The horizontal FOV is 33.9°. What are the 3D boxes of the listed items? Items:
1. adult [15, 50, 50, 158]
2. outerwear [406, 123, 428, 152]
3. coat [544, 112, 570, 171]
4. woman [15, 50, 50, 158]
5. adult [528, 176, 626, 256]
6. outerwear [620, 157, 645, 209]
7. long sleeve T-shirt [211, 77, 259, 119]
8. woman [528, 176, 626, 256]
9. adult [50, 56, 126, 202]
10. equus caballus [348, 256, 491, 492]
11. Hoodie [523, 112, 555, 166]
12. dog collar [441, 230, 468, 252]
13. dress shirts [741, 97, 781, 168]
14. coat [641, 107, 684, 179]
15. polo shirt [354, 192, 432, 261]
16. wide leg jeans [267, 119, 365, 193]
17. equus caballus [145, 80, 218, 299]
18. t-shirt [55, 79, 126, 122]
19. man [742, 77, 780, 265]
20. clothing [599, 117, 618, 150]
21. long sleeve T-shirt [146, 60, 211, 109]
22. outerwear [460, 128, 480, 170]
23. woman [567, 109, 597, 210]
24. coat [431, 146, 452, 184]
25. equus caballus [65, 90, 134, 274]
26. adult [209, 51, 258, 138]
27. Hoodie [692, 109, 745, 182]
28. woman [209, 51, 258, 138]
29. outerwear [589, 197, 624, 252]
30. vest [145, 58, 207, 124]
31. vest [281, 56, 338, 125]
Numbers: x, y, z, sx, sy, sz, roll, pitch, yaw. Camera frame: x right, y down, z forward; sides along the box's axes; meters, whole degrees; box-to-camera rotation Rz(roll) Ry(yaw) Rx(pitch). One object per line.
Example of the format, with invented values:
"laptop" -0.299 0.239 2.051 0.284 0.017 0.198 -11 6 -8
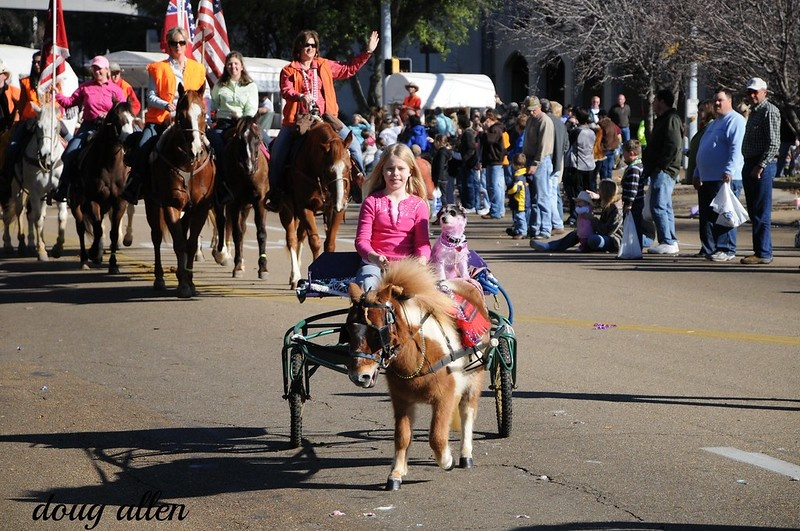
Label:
"adult" -6.996 -3.015 24.959 0.790 1.958 0.613 -9 -19 30
"outerwear" 0.457 -3.224 33.336 0.603 0.621 0.264 5 -3 -7
"coat" 3.253 -2.514 27.133 0.765 1.080 1.075 -1 9 0
"woman" -6.916 -2.978 24.929 0.805 2.046 0.559 -18 -24 27
"adult" 3.448 -0.903 25.188 1.860 1.379 1.253 -2 8 7
"outerwear" 4.321 -1.488 24.259 0.422 0.854 1.006 2 4 14
"long sleeve T-shirt" -2.880 -2.836 22.558 0.765 0.682 0.422 3 4 5
"woman" 3.467 -0.893 25.203 1.829 1.389 1.316 -3 8 4
"adult" -5.630 -2.370 23.793 1.233 2.680 0.987 6 8 -4
"equus caballus" 0.228 1.198 14.409 1.796 2.518 0.600 -4 7 -33
"Hoodie" 2.803 -2.599 26.734 0.549 1.031 1.192 -2 13 -16
"dog collar" 0.639 -0.277 15.741 0.214 0.134 0.273 8 9 -1
"dress shirts" 6.335 -2.345 23.117 0.580 1.230 1.334 -3 16 -9
"coat" 4.821 -2.190 24.174 0.707 1.274 1.047 3 0 -5
"polo shirt" -0.070 -0.409 16.029 1.162 1.117 0.689 2 -2 -1
"wide leg jeans" -1.439 -1.918 21.435 0.689 1.287 2.358 -1 10 -11
"equus caballus" -3.507 -1.167 21.008 0.962 3.289 1.411 -2 6 -23
"t-shirt" -5.663 -2.990 23.996 1.100 0.605 0.356 -2 5 -17
"man" 6.335 -1.668 23.125 0.723 3.280 1.127 -1 6 -3
"clothing" 5.237 -3.274 32.984 0.348 0.844 0.990 2 7 20
"long sleeve T-shirt" -3.626 -2.953 21.278 0.975 0.845 0.551 -3 29 -22
"outerwear" 1.641 -2.777 31.321 0.468 0.972 0.890 -3 -1 -8
"woman" 4.140 -2.361 30.009 0.666 2.436 0.723 -10 26 -16
"coat" 0.993 -2.360 31.369 0.467 0.903 0.433 0 6 2
"equus caballus" -5.283 -1.398 23.344 0.705 2.945 1.454 -5 8 -41
"adult" -2.856 -2.916 22.385 0.876 1.359 0.828 -1 3 -17
"Hoodie" 5.756 -2.118 23.454 0.788 1.343 1.626 5 1 -11
"woman" -2.869 -2.899 22.397 0.889 1.336 0.843 1 0 -20
"outerwear" 4.051 -0.801 25.442 0.797 1.158 0.974 1 6 6
"vest" -3.633 -3.046 21.258 0.910 0.475 0.910 -10 -32 -19
"vest" -1.490 -2.887 21.786 0.919 1.102 0.628 -9 21 -14
